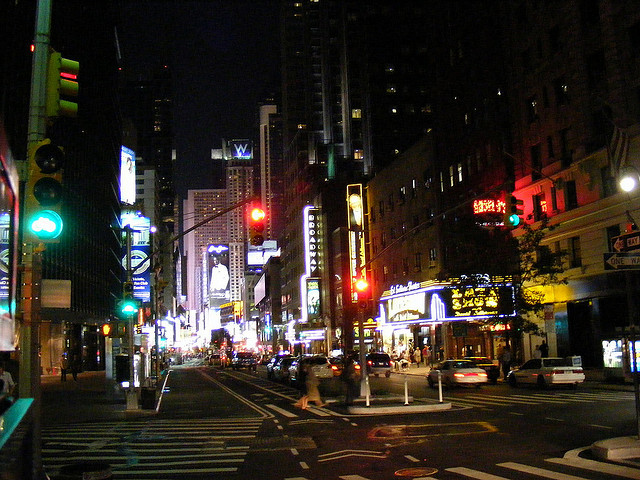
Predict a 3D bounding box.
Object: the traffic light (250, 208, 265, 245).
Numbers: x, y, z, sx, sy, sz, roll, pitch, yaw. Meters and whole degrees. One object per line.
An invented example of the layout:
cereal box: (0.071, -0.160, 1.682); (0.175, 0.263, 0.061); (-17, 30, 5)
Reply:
traffic light: (-2.099, -0.471, 23.523); (0.450, 1.516, 1.259); (-2, -14, -6)

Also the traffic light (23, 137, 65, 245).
traffic light: (-5.674, -1.176, 14.697); (0.738, 2.246, 0.941); (2, -15, -22)

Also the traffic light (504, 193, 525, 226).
traffic light: (6.808, -1.111, 25.279); (0.646, 1.144, 0.511); (5, -16, -31)

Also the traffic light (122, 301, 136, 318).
traffic light: (-8.030, 2.906, 29.983); (0.536, 0.668, 0.297); (0, -14, -15)

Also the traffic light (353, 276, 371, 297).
traffic light: (1.869, 2.165, 32.351); (0.712, 0.958, 1.038); (-2, -14, -5)

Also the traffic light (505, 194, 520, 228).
traffic light: (6.806, -1.069, 25.450); (0.526, 1.156, 0.902); (-7, -15, 17)

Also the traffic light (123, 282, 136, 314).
traffic light: (-8.052, 2.445, 30.093); (0.539, 1.351, 0.398); (-2, -13, -7)

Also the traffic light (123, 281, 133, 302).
traffic light: (-8.125, 2.187, 30.152); (0.332, 0.877, 0.404); (-1, -14, -9)

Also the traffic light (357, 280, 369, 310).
traffic light: (1.928, 2.492, 32.006); (0.538, 1.332, 0.583); (-1, -14, -10)

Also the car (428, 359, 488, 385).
car: (7.526, 7.272, 39.353); (1.454, 1.440, 2.939); (8, -19, -38)
